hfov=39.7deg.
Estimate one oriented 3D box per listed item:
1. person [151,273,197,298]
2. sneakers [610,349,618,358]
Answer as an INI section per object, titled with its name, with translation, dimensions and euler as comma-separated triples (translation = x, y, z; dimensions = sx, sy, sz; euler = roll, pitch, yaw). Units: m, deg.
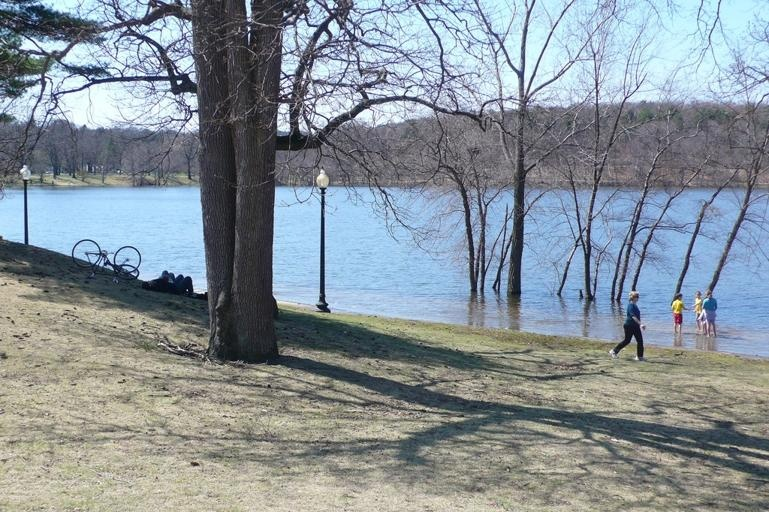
[person]
translation = -6.865, 0.913, 34.647
dimensions = 0.953, 0.403, 1.141
euler = 5, 4, -16
[sneakers]
translation = 7.250, 3.086, 33.731
dimensions = 0.152, 0.341, 0.141
euler = -45, -17, 27
